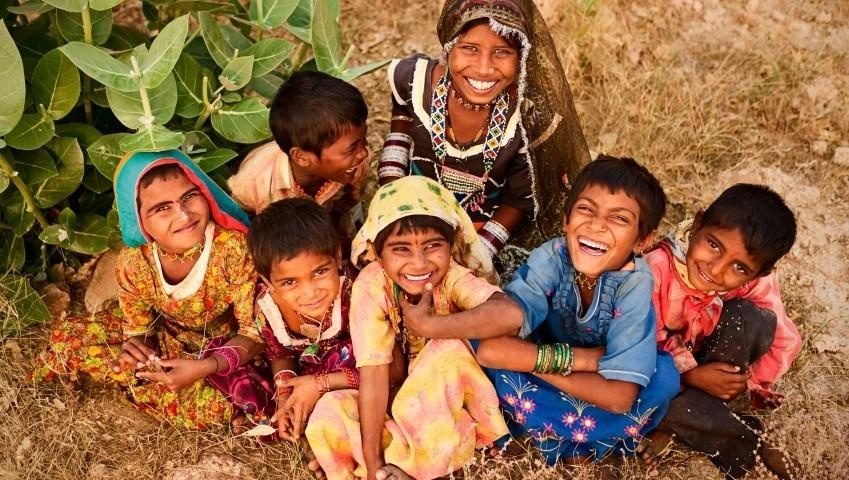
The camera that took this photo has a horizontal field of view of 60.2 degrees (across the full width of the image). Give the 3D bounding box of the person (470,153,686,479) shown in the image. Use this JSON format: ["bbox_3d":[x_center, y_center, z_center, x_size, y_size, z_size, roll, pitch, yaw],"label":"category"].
[{"bbox_3d":[1.161,0.560,5.105,1.258,2.049,0.948,18,28,20],"label":"person"}]

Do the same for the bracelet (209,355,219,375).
[{"bbox_3d":[-1.530,0.909,5.298,0.046,0.120,0.057,-3,28,-21],"label":"bracelet"}]

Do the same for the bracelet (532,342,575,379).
[{"bbox_3d":[0.883,0.826,5.008,0.248,0.240,0.193,0,27,5],"label":"bracelet"}]

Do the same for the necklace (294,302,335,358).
[{"bbox_3d":[-0.804,0.670,5.349,0.252,0.161,0.370,9,69,-2],"label":"necklace"}]

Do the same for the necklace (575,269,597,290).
[{"bbox_3d":[1.128,0.287,5.143,0.106,0.087,0.132,23,15,22],"label":"necklace"}]

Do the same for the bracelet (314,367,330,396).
[{"bbox_3d":[-0.753,1.043,5.312,0.051,0.134,0.120,-17,17,-4],"label":"bracelet"}]
